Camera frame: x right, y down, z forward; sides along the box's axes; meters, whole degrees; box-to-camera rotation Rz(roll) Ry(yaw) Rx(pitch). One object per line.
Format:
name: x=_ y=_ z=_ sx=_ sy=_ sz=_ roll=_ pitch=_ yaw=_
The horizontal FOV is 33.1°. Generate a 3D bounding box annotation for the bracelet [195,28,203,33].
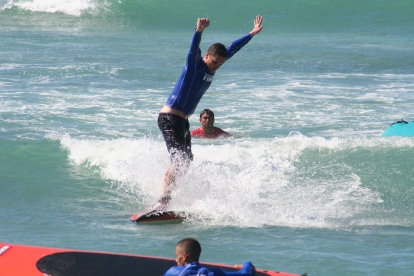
bracelet: x=-0.186 y=-2.838 z=18.604 sx=0.212 sy=0.104 sz=0.169 roll=19 pitch=23 yaw=6

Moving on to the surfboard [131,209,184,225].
surfboard: x=-1.339 y=2.155 z=18.956 sx=1.365 sy=0.207 sz=0.476 roll=1 pitch=7 yaw=-4

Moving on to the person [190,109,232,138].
person: x=0.165 y=-0.438 z=23.358 sx=2.129 sy=0.759 sz=0.777 roll=1 pitch=-10 yaw=30
